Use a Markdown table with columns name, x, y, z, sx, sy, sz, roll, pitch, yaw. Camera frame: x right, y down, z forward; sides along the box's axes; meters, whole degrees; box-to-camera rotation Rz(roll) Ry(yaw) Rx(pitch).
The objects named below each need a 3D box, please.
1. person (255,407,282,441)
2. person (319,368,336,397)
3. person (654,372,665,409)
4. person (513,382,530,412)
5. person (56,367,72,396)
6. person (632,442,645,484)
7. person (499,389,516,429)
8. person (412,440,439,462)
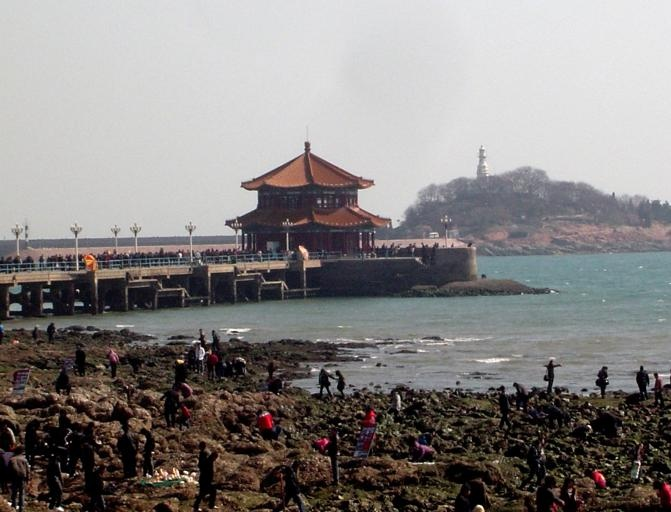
| name | x | y | z | sx | sy | sz | roll | pitch | yaw |
| --- | --- | --- | --- | --- | --- | --- | --- | --- | --- |
| person | -2.367 | 5.901 | 44.732 | 0.864 | 0.942 | 2.325 | -2 | -5 | -4 |
| person | -0.388 | 5.376 | 53.849 | 0.633 | 1.248 | 0.659 | 17 | -29 | -31 |
| person | 12.813 | 5.342 | 50.961 | 0.353 | 1.317 | 1.926 | -3 | -5 | 13 |
| person | 7.230 | 5.494 | 49.990 | 0.555 | 1.073 | 2.577 | -3 | -5 | 8 |
| person | -10.077 | 4.689 | 47.324 | 0.539 | 0.709 | 1.444 | 6 | 38 | -8 |
| person | 10.006 | 6.869 | 42.757 | 0.427 | 1.214 | 2.291 | -4 | -5 | 14 |
| person | 6.173 | 5.638 | 46.709 | 0.423 | 1.294 | 1.407 | -3 | -5 | 7 |
| person | 2.976 | 6.645 | 43.583 | 0.848 | 0.637 | 1.005 | -3 | -5 | 3 |
